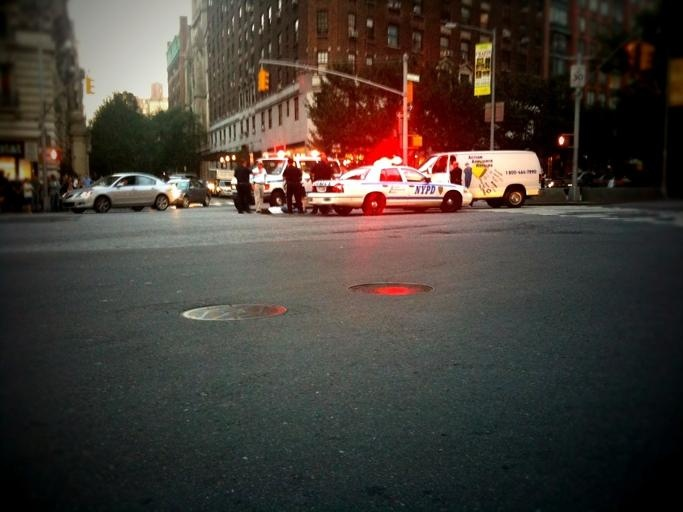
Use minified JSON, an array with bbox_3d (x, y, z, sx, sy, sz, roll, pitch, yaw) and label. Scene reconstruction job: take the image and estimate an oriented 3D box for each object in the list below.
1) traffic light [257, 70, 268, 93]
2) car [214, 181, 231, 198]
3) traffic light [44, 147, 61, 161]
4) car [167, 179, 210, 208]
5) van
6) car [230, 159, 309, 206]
[{"bbox_3d":[-3.837,-8.820,31.485,0.481,1.213,2.160,-1,8,-6],"label":"traffic light"},{"bbox_3d":[-9.766,-5.705,52.661,1.668,1.629,2.906,-1,3,-19],"label":"car"},{"bbox_3d":[-15.204,-5.382,33.444,0.550,0.706,0.148,12,2,1],"label":"traffic light"},{"bbox_3d":[-8.521,-3.529,34.873,1.159,1.058,2.681,0,3,15],"label":"car"},{"bbox_3d":[6.190,-3.576,27.398,4.208,2.326,2.559,-1,8,-12],"label":"van"},{"bbox_3d":[-2.782,-3.316,27.464,1.732,1.943,3.376,4,7,41],"label":"car"}]
